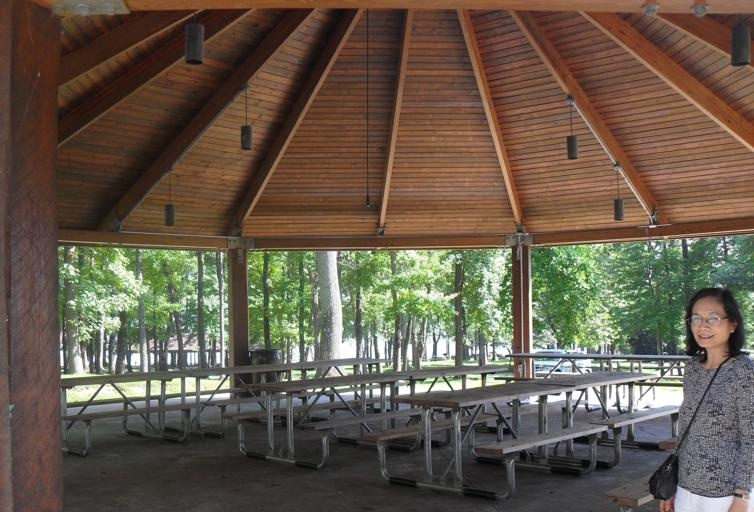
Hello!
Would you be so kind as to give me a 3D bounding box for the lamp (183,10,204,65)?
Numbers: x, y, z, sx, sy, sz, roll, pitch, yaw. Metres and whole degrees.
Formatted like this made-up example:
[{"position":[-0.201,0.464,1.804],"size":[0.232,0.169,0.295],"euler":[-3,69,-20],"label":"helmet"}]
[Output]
[{"position":[-1.847,-2.166,7.037],"size":[0.170,0.495,0.311],"euler":[0,-8,-18],"label":"lamp"}]
